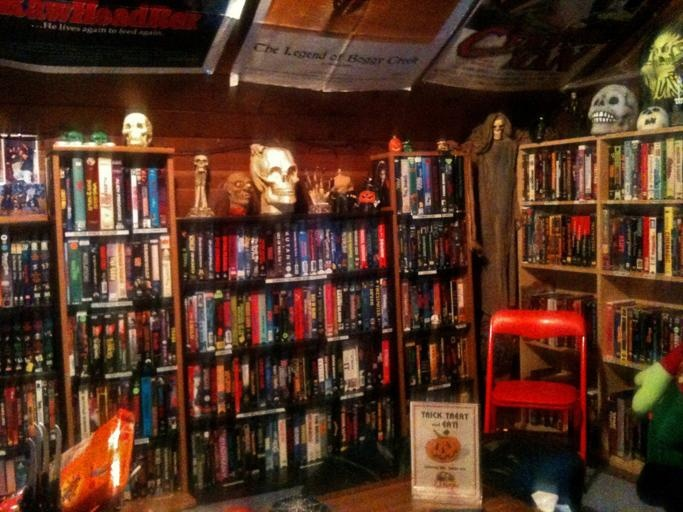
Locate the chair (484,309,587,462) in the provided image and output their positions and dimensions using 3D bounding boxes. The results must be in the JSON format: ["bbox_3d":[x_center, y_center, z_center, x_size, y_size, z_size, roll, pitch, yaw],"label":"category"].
[{"bbox_3d":[1.130,0.732,3.635,0.540,0.778,0.557,0,14,23],"label":"chair"}]
